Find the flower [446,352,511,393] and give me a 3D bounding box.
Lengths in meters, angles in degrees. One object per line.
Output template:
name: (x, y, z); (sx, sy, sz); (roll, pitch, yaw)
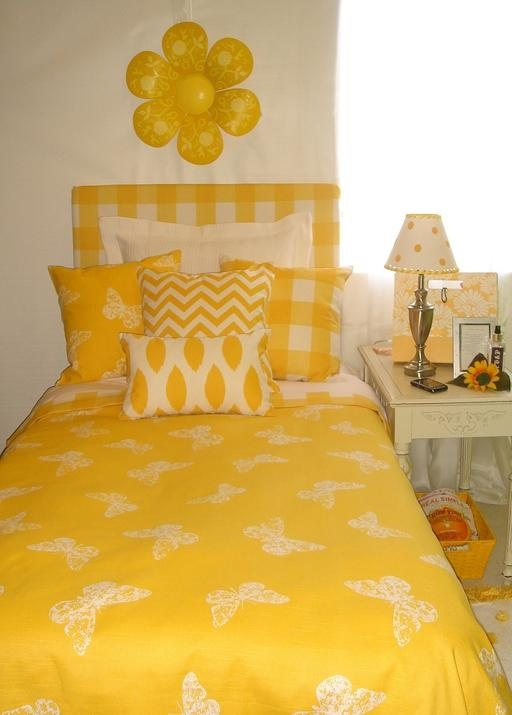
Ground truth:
flower: (0.719, 0.062, 1.821); (0.127, 0.126, 0.044); (-21, -22, 25)
